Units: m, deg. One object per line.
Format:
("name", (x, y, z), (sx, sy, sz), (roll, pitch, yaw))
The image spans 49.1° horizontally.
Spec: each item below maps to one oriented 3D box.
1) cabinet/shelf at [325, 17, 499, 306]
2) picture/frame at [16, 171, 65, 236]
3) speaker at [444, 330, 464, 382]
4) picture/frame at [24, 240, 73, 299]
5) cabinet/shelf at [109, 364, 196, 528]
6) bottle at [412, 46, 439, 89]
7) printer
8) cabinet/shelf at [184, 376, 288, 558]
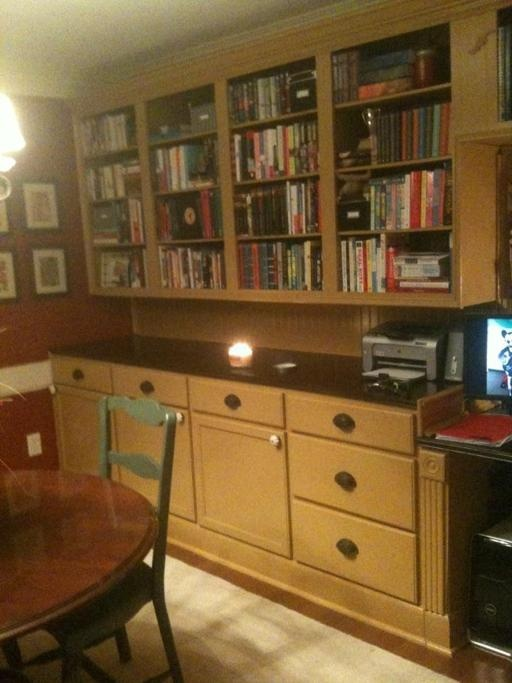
("cabinet/shelf", (0.580, -0.601, 2.002), (0.293, 0.938, 0.687), (-6, 5, -44))
("picture/frame", (-1.162, -0.739, 3.025), (0.238, 0.281, 0.023), (1, 19, 0))
("speaker", (0.708, 0.044, 1.950), (0.081, 0.156, 0.058), (8, 0, 42))
("picture/frame", (-1.143, -0.393, 3.100), (0.018, 0.280, 0.249), (4, 11, 29))
("cabinet/shelf", (-0.585, 0.568, 2.636), (0.442, 0.605, 0.403), (14, -4, -23))
("bottle", (0.567, -0.918, 1.877), (0.077, 0.123, 0.034), (-2, 4, 16))
("printer", (0.575, 0.027, 2.104), (0.271, 0.183, 0.221), (7, 17, 35))
("cabinet/shelf", (0.034, 0.532, 2.441), (0.462, 0.638, 0.444), (7, 19, 28))
